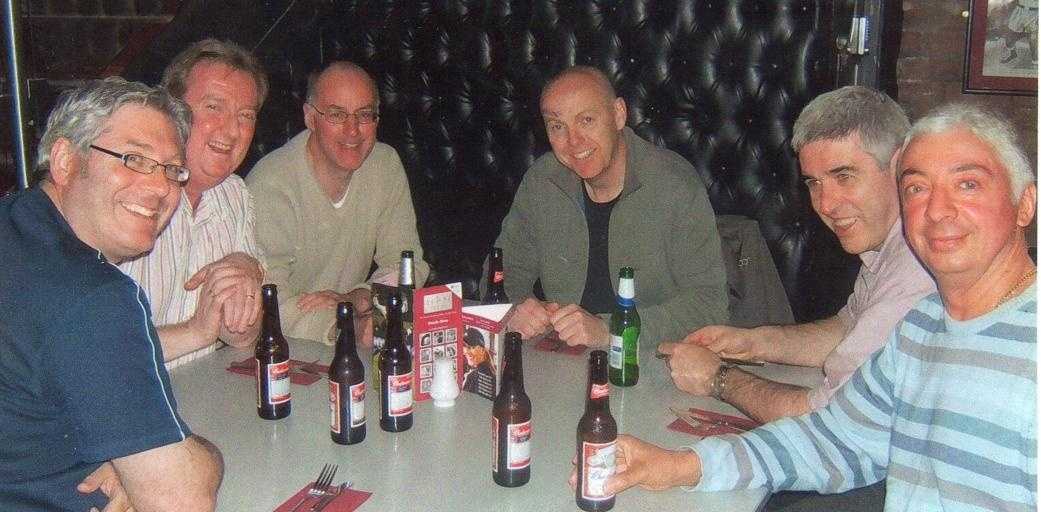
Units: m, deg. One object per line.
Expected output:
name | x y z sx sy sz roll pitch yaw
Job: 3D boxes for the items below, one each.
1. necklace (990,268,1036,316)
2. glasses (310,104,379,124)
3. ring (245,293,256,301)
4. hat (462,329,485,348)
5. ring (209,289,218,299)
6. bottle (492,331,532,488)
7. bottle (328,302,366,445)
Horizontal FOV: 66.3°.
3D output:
necklace | 1.767 0.124 2.828 0.166 0.042 0.117 -35 -24 -5
glasses | -0.927 -0.750 4.158 0.330 0.114 0.111 -2 2 -14
ring | -1.167 0.173 3.433 0.030 0.022 0.028 0 7 0
hat | -0.187 0.329 3.193 0.068 0.045 0.095 16 -12 44
ring | -1.308 0.156 3.374 0.035 0.029 0.010 14 -7 -13
bottle | -0.041 0.550 2.897 0.148 0.555 0.162 -3 2 0
bottle | -0.669 0.440 3.042 0.141 0.536 0.157 -3 2 -13
